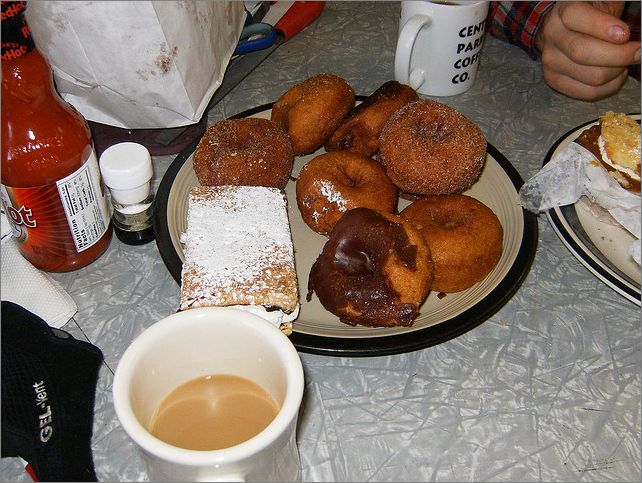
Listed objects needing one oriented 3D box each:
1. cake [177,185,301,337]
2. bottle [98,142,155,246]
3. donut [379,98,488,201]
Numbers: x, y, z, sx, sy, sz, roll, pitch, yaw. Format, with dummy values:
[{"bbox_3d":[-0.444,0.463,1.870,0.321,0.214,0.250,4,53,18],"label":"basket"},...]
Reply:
[{"bbox_3d":[-0.110,0.019,0.785,0.159,0.065,0.254,-2,41,-15],"label":"cake"},{"bbox_3d":[-0.276,-0.061,0.838,0.058,0.121,0.064,8,25,12],"label":"bottle"},{"bbox_3d":[0.169,-0.141,0.871,0.132,0.049,0.154,7,69,1],"label":"donut"}]
